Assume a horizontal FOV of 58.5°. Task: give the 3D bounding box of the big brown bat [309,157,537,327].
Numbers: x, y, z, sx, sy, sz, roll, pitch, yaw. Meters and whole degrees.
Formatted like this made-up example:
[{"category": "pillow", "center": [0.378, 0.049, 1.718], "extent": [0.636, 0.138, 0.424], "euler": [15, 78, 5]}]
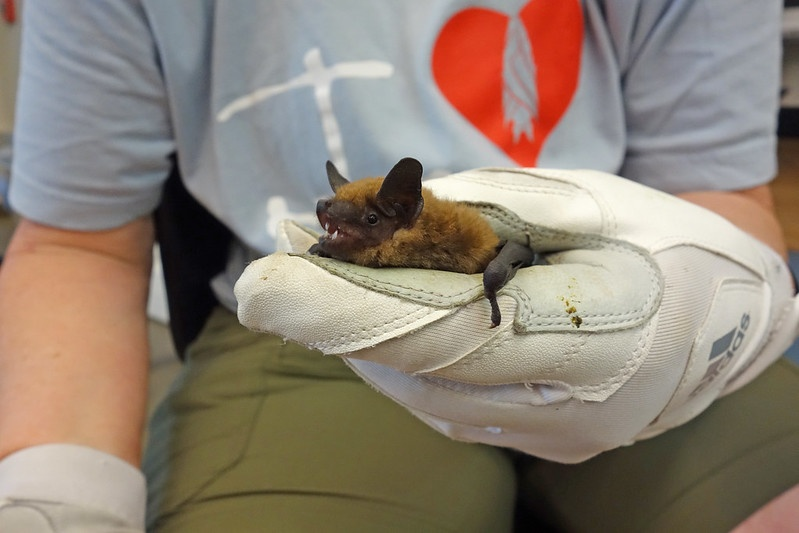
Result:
[{"category": "big brown bat", "center": [0.032, -0.080, 1.732], "extent": [0.418, 0.451, 0.224], "euler": [0, 86, -40]}]
